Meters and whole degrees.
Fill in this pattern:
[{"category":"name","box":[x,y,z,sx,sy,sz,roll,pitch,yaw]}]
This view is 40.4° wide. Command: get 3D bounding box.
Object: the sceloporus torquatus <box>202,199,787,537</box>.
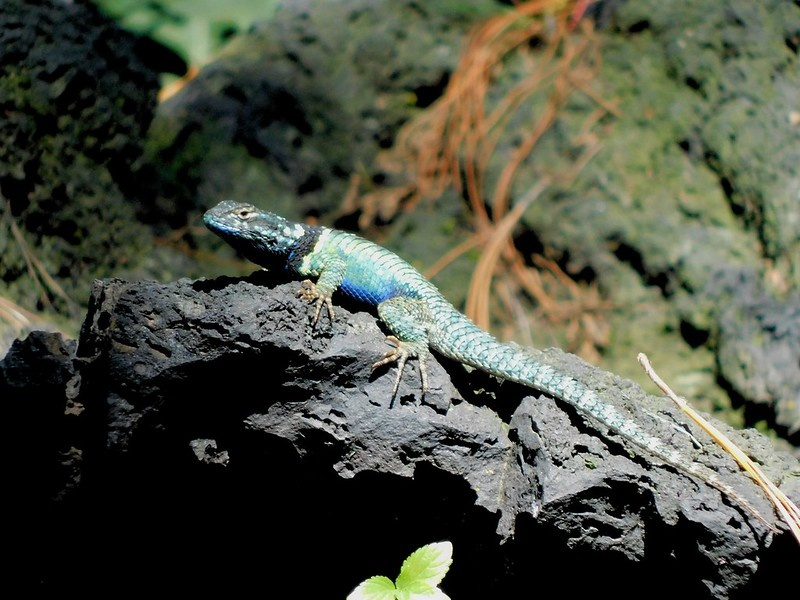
[{"category":"sceloporus torquatus","box":[0.201,0.251,7.706,3.626,0.816,0.845,36,35,8]}]
